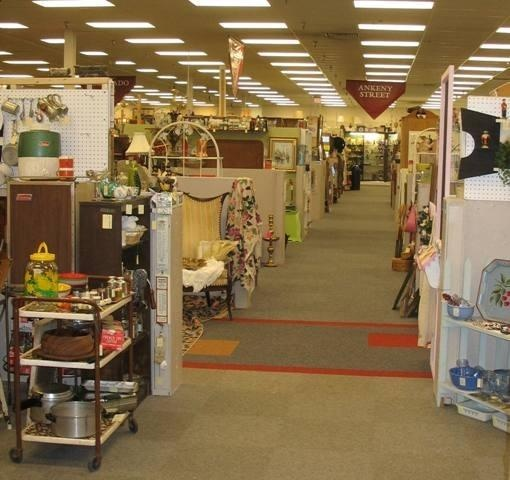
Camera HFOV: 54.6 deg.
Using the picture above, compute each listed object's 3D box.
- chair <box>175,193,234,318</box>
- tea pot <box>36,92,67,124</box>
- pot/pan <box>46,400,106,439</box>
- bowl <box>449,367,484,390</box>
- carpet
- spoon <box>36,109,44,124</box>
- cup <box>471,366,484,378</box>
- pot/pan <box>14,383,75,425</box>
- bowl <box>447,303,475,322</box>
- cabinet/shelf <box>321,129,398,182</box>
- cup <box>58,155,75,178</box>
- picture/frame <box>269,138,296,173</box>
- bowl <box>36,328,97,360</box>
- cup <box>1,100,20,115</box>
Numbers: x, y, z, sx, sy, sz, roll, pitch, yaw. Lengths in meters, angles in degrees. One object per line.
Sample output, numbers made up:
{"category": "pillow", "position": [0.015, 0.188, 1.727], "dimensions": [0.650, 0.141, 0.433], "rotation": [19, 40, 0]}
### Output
{"category": "chair", "position": [-0.530, 0.062, 6.306], "dimensions": [0.785, 1.331, 0.854], "rotation": [1, 4, -29]}
{"category": "tea pot", "position": [-1.501, -0.985, 3.644], "dimensions": [0.217, 0.199, 0.113], "rotation": [2, 5, 6]}
{"category": "pot/pan", "position": [-0.984, 0.942, 2.701], "dimensions": [0.282, 0.196, 0.266], "rotation": [0, 6, -6]}
{"category": "bowl", "position": [1.519, 0.986, 3.556], "dimensions": [0.218, 0.108, 0.203], "rotation": [1, 7, 0]}
{"category": "carpet", "position": [0.549, 1.035, 4.992], "dimensions": [2.293, 0.050, 1.633], "rotation": [2, 7, 4]}
{"category": "spoon", "position": [-1.607, -0.924, 3.669], "dimensions": [0.087, 0.100, 0.021], "rotation": [7, 7, 40]}
{"category": "cup", "position": [1.622, 0.956, 3.597], "dimensions": [0.065, 0.066, 0.058], "rotation": [-5, 10, -31]}
{"category": "pot/pan", "position": [-1.195, 0.921, 2.779], "dimensions": [0.144, 0.135, 0.342], "rotation": [2, 9, 10]}
{"category": "bowl", "position": [1.475, 0.500, 3.547], "dimensions": [0.117, 0.083, 0.130], "rotation": [-2, 4, 8]}
{"category": "cabinet/shelf", "position": [5.471, -4.654, 25.831], "dimensions": [3.436, 3.652, 1.343], "rotation": [1, 8, 7]}
{"category": "cup", "position": [-1.308, -0.508, 3.409], "dimensions": [0.098, 0.143, 0.174], "rotation": [-1, 7, -23]}
{"category": "picture/frame", "position": [0.666, -2.048, 11.842], "dimensions": [0.641, 0.878, 0.066], "rotation": [0, 35, 1]}
{"category": "bowl", "position": [-0.979, 0.556, 2.676], "dimensions": [0.180, 0.074, 0.199], "rotation": [5, 2, 12]}
{"category": "cup", "position": [-1.830, -0.998, 3.668], "dimensions": [0.159, 0.113, 0.066], "rotation": [3, 6, 19]}
